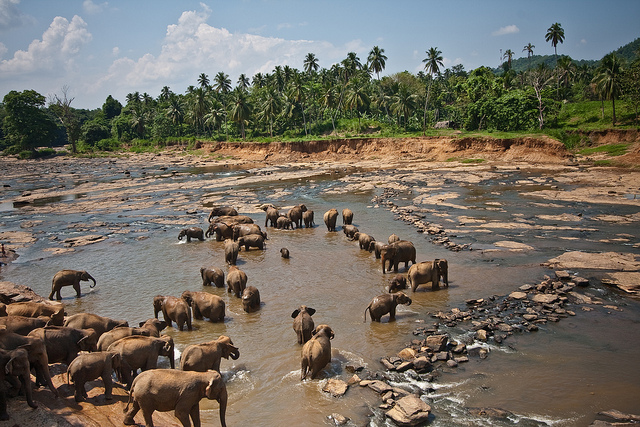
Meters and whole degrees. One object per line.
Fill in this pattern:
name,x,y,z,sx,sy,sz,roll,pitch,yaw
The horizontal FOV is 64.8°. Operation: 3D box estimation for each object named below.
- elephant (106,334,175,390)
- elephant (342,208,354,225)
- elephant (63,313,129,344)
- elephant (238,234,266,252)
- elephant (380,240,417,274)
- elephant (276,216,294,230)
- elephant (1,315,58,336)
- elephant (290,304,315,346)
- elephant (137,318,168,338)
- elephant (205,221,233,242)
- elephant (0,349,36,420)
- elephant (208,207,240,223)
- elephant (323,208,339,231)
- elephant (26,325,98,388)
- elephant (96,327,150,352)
elephant,-6.731,5.491,19.197,1.487,1.634,3.352,3,-3,33
elephant,1.870,0.251,34.076,0.609,0.980,1.597,-3,6,2
elephant,-9.055,4.537,20.156,2.632,1.168,1.002,8,6,-20
elephant,-4.113,1.777,30.325,1.569,0.922,0.647,-3,7,-8
elephant,4.036,2.257,26.186,2.663,1.386,0.991,-7,6,-34
elephant,-2.420,0.634,34.918,1.158,0.661,0.683,-1,4,0
elephant,-11.095,4.239,19.295,1.860,0.823,0.695,7,16,-19
elephant,-0.692,4.569,20.869,0.833,0.814,1.645,0,18,1
elephant,-6.781,4.621,20.553,0.717,0.498,0.949,0,3,5
elephant,-6.293,1.189,32.664,2.348,1.173,0.984,3,9,43
elephant,-10.350,5.607,17.279,1.080,1.993,0.738,-4,7,-9
elephant,-7.078,-0.022,37.333,2.363,0.976,0.984,0,-1,5
elephant,0.740,0.453,33.678,0.813,1.389,0.756,-3,7,0
elephant,-9.588,5.247,18.925,2.692,1.799,1.236,2,-5,-43
elephant,-7.699,4.822,19.521,0.790,0.881,1.914,13,16,43
